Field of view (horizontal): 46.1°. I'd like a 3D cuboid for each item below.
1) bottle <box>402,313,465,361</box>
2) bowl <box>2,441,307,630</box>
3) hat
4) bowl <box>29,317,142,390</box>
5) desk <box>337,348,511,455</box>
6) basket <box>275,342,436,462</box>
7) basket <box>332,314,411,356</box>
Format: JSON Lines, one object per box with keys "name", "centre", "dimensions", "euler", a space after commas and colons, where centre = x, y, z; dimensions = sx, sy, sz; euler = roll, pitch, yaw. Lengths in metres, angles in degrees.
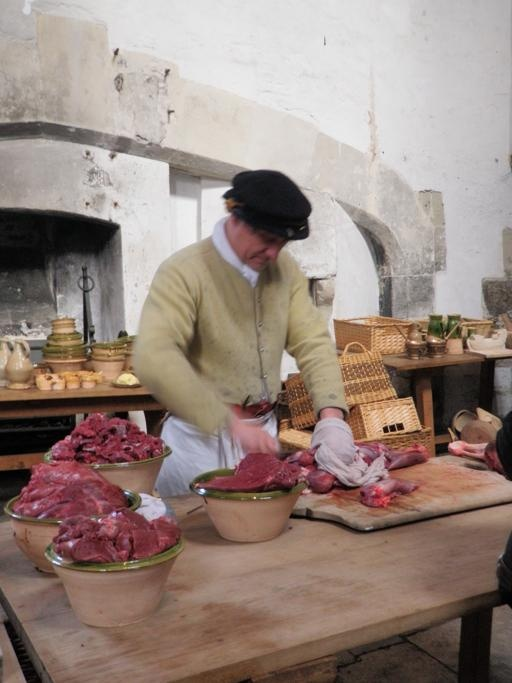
{"name": "bottle", "centre": [1.552, -0.023, 5.169], "dimensions": [0.557, 0.306, 0.345], "euler": [-4, 5, -5]}
{"name": "bowl", "centre": [-0.157, 0.404, 1.223], "dimensions": [0.220, 0.210, 0.554], "euler": [0, 3, 31]}
{"name": "hat", "centre": [0.024, -0.422, 1.890], "dimensions": [0.217, 0.097, 0.255], "euler": [-9, 37, -35]}
{"name": "bowl", "centre": [-1.117, 0.129, 4.049], "dimensions": [0.711, 0.271, 0.652], "euler": [-1, 6, 0]}
{"name": "desk", "centre": [1.194, 0.383, 4.235], "dimensions": [1.017, 0.831, 0.399], "euler": [-4, 9, -22]}
{"name": "basket", "centre": [0.728, 0.382, 4.092], "dimensions": [1.144, 0.415, 0.691], "euler": [-6, 9, -38]}
{"name": "basket", "centre": [1.005, -0.061, 5.301], "dimensions": [0.439, 0.192, 0.515], "euler": [-3, 4, -36]}
